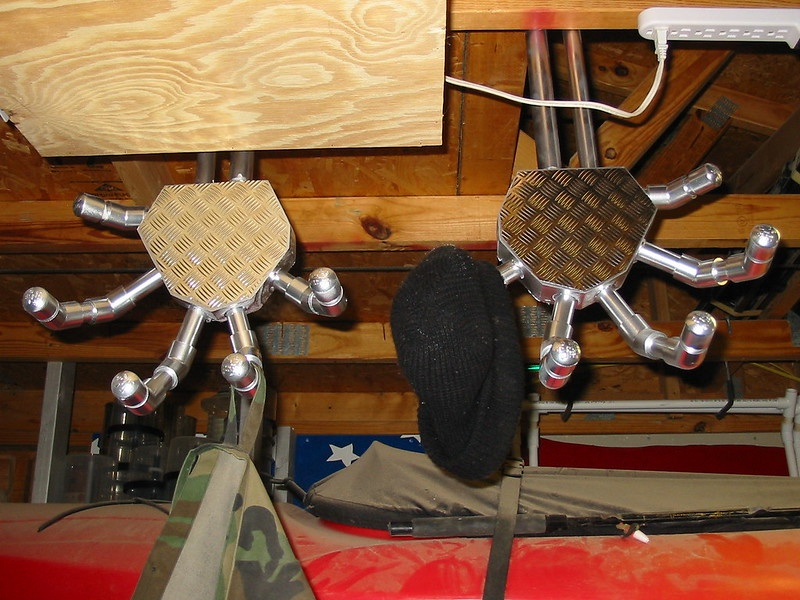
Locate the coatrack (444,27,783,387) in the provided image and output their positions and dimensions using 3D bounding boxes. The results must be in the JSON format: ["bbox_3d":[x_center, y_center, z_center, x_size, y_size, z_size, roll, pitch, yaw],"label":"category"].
[{"bbox_3d":[0.481,-0.170,1.761,0.951,0.320,0.895,-5,69,0],"label":"coatrack"}]

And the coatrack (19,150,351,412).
[{"bbox_3d":[-0.458,-0.061,1.532,0.776,0.165,0.581,15,77,1],"label":"coatrack"}]
